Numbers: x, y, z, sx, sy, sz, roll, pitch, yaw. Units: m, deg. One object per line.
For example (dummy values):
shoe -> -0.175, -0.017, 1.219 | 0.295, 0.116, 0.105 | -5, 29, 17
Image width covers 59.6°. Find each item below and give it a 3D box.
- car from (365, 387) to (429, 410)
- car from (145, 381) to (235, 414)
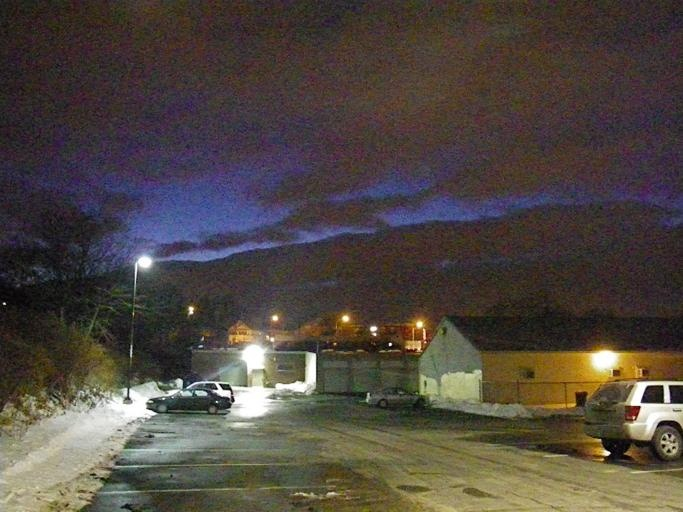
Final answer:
car -> 3.712, 9.789, 40.571 | 3.441, 1.059, 1.552 | -1, -6, -6
car -> -8.450, 7.973, 33.233 | 4.325, 1.310, 1.801 | 4, -11, -4
